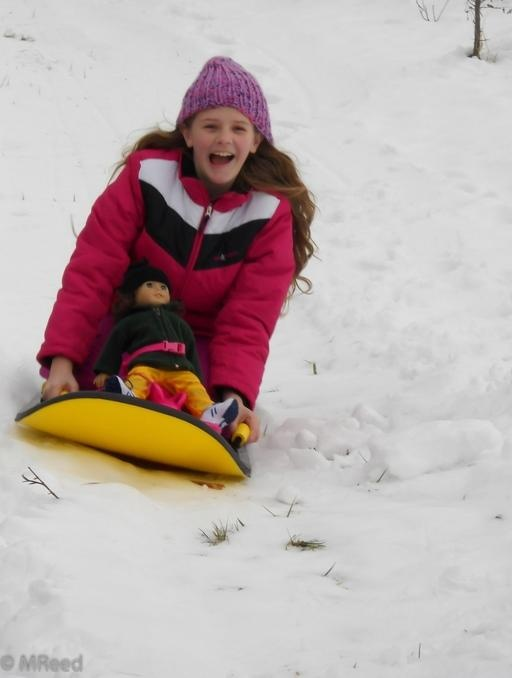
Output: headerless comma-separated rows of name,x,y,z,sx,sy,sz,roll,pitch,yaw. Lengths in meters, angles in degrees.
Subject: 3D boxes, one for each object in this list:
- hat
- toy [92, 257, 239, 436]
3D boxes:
hat,-0.110,-0.867,2.981,0.361,0.294,0.275,5,17,0
toy,-0.330,0.005,2.682,0.411,0.418,0.602,3,12,-16
